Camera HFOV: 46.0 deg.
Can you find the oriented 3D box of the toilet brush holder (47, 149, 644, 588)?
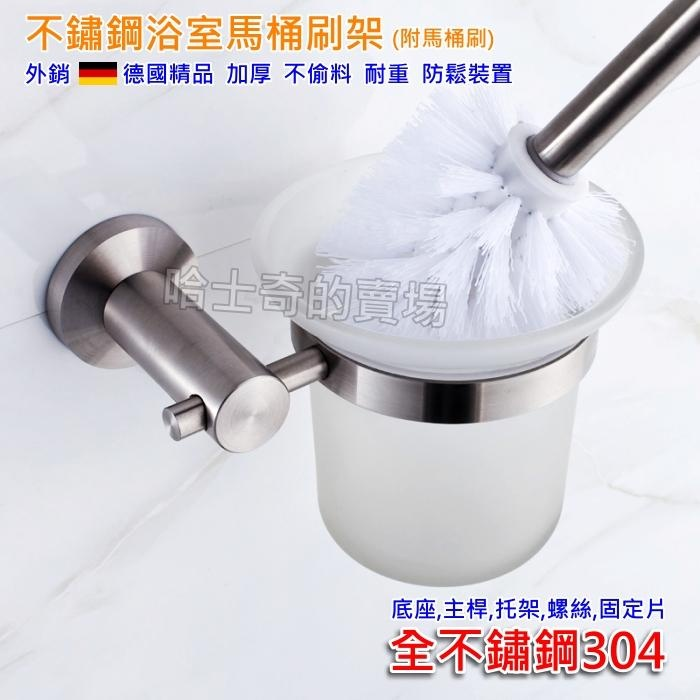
[{"bbox_3d":[-0.031,0.068,0.662,0.378,0.237,0.333,-25,41,-36],"label":"toilet brush holder"}]
